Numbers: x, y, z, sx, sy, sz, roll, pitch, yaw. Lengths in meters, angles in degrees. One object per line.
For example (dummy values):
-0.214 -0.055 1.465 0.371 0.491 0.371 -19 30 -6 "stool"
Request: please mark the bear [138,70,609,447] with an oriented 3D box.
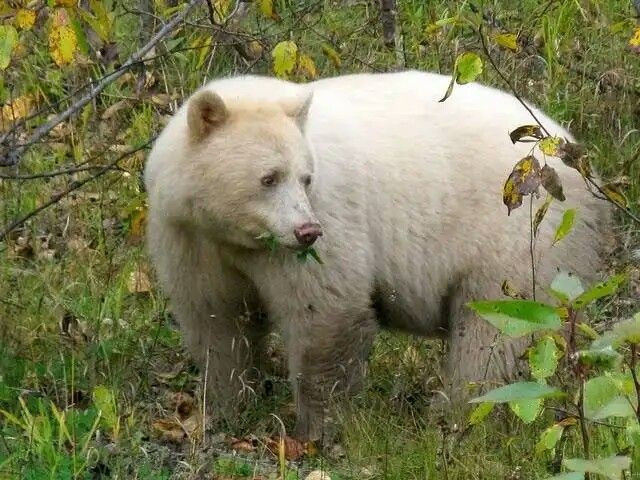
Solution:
0.511 0.070 4.519 2.992 2.693 1.612 5 -1 -12 "bear"
